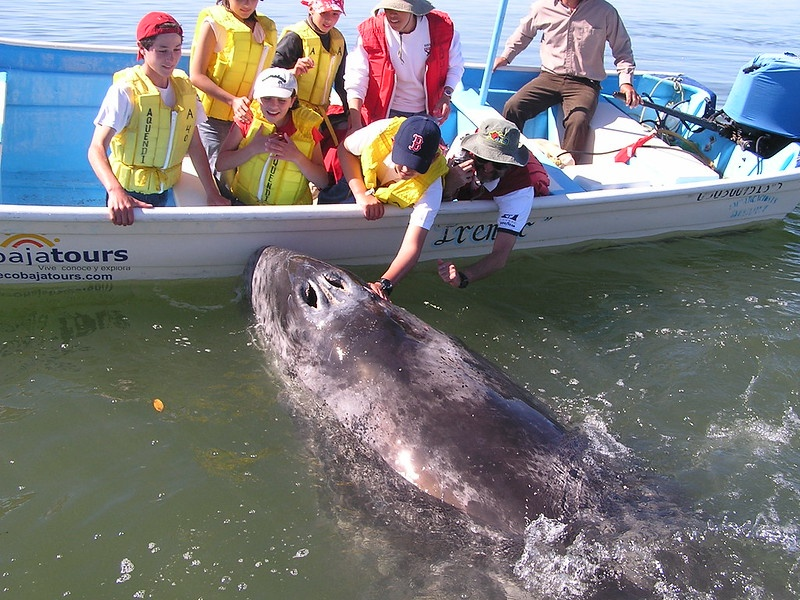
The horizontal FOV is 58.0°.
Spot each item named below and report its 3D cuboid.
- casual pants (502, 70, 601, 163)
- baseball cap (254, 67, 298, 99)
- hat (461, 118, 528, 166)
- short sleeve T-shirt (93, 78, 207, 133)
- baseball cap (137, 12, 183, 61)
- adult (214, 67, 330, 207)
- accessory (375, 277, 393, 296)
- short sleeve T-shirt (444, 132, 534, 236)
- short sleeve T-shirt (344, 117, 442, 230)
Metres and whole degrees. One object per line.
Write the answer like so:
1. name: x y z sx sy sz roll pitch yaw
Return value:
1. casual pants: 2.069 -2.343 9.678 1.048 1.279 0.922 23 32 22
2. baseball cap: -1.150 -1.989 6.675 0.371 0.277 0.271 3 24 -12
3. hat: 0.950 -1.544 6.792 0.566 0.226 0.504 23 37 3
4. short sleeve T-shirt: -2.237 -1.777 6.712 0.525 0.599 0.982 33 37 30
5. baseball cap: -2.148 -2.473 6.496 0.389 0.251 0.514 -27 15 -12
6. adult: -1.314 -1.240 7.340 1.107 2.035 0.787 6 28 -6
7. accessory: -0.139 -0.119 6.428 0.145 0.140 0.097 48 44 0
8. short sleeve T-shirt: 1.103 -1.074 7.182 0.915 0.984 0.277 17 35 18
9. short sleeve T-shirt: 0.015 -1.272 6.754 0.890 0.712 1.138 12 63 -28
